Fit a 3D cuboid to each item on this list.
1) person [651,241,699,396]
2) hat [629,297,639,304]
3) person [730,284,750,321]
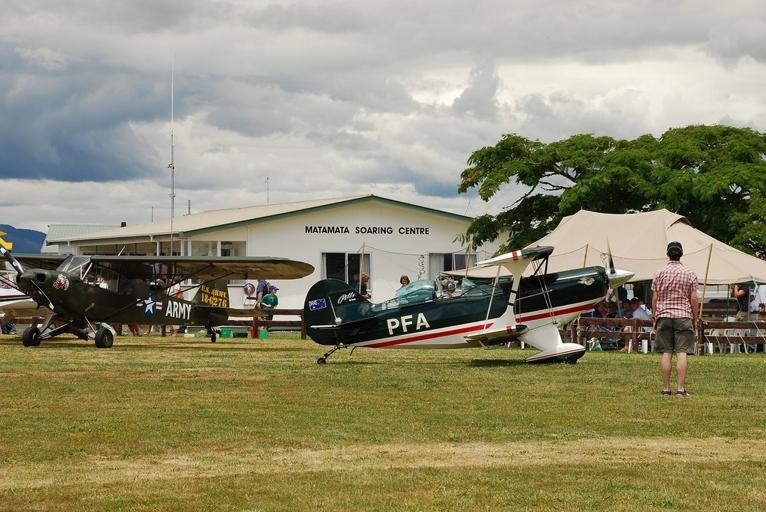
[{"bbox_3d":[5.579,1.177,25.718,0.821,2.679,1.205,2,15,4],"label":"person"},{"bbox_3d":[6.877,1.229,36.820,0.153,0.180,0.157,22,-2,40],"label":"hat"},{"bbox_3d":[9.841,1.250,36.807,0.419,1.059,2.160,4,14,14],"label":"person"}]
